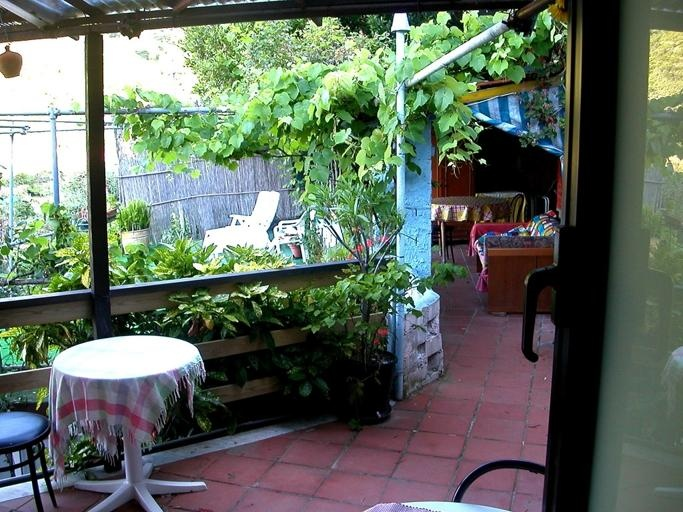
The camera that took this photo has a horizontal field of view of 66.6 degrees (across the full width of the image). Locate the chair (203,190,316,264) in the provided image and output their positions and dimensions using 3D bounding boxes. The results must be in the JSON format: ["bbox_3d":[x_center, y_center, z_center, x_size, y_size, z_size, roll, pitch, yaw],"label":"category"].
[{"bbox_3d":[-1.537,-0.585,9.380,1.990,1.365,1.089,-1,4,-12],"label":"chair"}]

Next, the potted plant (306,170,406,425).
[{"bbox_3d":[0.147,0.366,4.869,0.854,2.240,0.978,-2,11,-3],"label":"potted plant"}]

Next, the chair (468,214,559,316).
[{"bbox_3d":[2.200,0.119,6.818,0.940,0.974,1.571,1,10,10],"label":"chair"}]

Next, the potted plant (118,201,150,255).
[{"bbox_3d":[-2.437,-0.391,6.091,0.373,0.506,0.408,-6,12,-24],"label":"potted plant"}]
